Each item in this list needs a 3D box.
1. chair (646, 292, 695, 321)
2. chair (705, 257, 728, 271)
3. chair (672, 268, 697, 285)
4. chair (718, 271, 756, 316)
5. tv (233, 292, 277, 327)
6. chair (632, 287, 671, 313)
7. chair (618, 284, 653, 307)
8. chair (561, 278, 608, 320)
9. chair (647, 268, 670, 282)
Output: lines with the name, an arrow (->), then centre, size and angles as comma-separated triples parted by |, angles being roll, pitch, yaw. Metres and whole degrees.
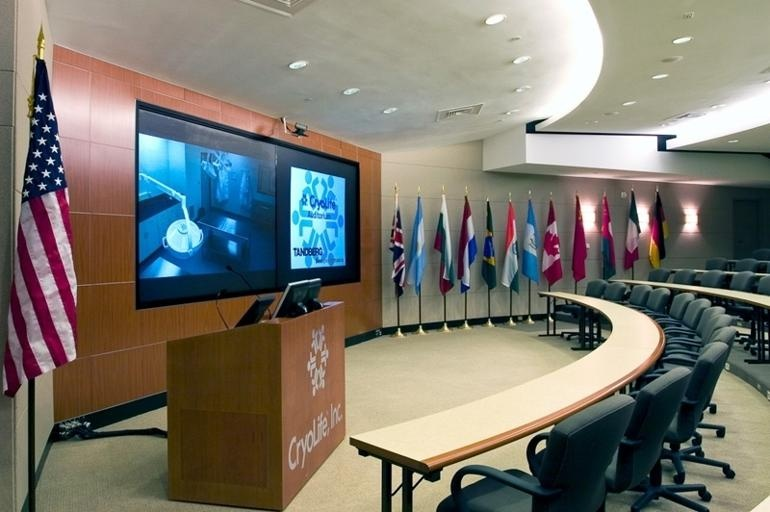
chair -> 3.888, 0.659, 7.439 | 0.465, 0.548, 0.386 | 0, -3, 2
chair -> 7.145, 0.178, 11.819 | 0.276, 0.327, 0.251 | 4, -6, -21
chair -> 5.566, 0.394, 10.239 | 0.248, 0.464, 0.464 | 2, -4, -10
chair -> 5.581, 0.597, 8.672 | 0.523, 0.810, 0.547 | 8, -7, -13
tv -> -1.162, 0.504, 4.968 | 0.277, 0.278, 0.746 | -1, 5, -8
chair -> 3.930, 0.635, 8.030 | 0.448, 0.508, 0.359 | 2, -2, -14
chair -> 4.091, 0.639, 8.738 | 0.313, 0.377, 0.347 | 9, -5, -26
chair -> 3.543, 0.748, 10.037 | 0.816, 0.949, 0.726 | 5, -5, -22
chair -> 5.721, 0.392, 11.358 | 0.323, 0.384, 0.306 | 2, -7, -23
